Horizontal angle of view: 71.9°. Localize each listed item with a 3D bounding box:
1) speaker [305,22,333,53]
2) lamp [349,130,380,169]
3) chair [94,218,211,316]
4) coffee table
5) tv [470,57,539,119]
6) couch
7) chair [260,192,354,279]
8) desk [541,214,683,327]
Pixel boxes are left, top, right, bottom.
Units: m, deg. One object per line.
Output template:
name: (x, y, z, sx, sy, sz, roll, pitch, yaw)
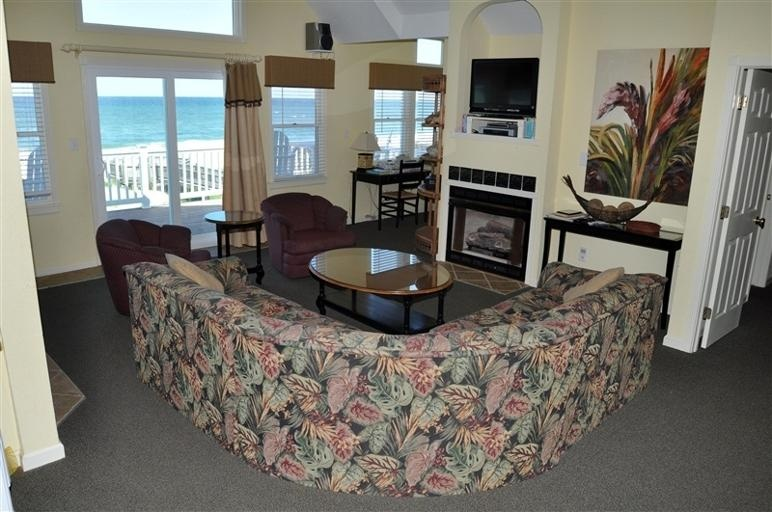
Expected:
speaker: (-1.051, -3.412, 8.263, 0.290, 0.401, 0.414, 12, 17, 36)
lamp: (-0.359, -1.854, 9.242, 0.446, 0.622, 0.494, -9, 20, -21)
chair: (-2.617, 0.100, 5.990, 1.114, 0.984, 1.160, 11, 17, 31)
coffee table: (-0.200, 0.458, 5.616, 1.459, 0.656, 1.080, 13, 7, -24)
tv: (1.551, -2.176, 6.836, 0.884, 0.640, 0.093, 12, 22, 32)
couch: (-0.073, 0.877, 4.161, 3.978, 1.357, 1.363, 2, 18, 12)
chair: (-1.092, -0.344, 7.235, 1.096, 0.932, 1.008, -9, 20, -34)
desk: (2.614, 0.141, 6.326, 1.503, 0.949, 0.603, 11, 9, 21)
